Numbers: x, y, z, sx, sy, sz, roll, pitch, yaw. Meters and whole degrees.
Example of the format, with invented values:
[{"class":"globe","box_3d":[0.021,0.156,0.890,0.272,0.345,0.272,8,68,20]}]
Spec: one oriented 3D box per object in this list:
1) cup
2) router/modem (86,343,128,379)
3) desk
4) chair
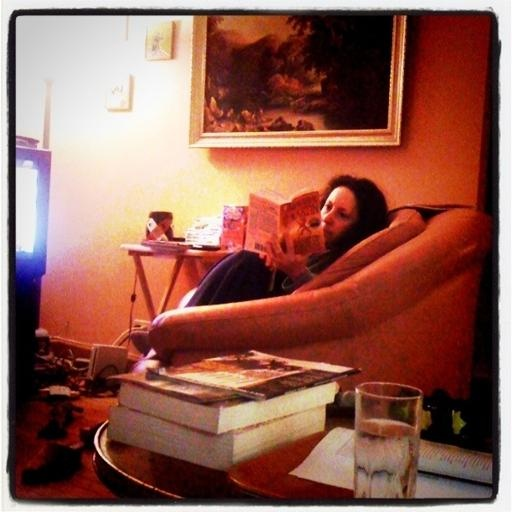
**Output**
[{"class":"cup","box_3d":[0.228,0.329,0.793,0.092,0.195,0.105,2,8,4]},{"class":"router/modem","box_3d":[-0.421,0.301,1.243,0.079,0.109,0.021,8,-1,-14]},{"class":"desk","box_3d":[-0.279,0.101,1.367,0.265,0.293,0.272,-1,-7,-29]},{"class":"chair","box_3d":[0.327,0.127,1.410,0.605,0.654,0.550,0,-3,18]}]
